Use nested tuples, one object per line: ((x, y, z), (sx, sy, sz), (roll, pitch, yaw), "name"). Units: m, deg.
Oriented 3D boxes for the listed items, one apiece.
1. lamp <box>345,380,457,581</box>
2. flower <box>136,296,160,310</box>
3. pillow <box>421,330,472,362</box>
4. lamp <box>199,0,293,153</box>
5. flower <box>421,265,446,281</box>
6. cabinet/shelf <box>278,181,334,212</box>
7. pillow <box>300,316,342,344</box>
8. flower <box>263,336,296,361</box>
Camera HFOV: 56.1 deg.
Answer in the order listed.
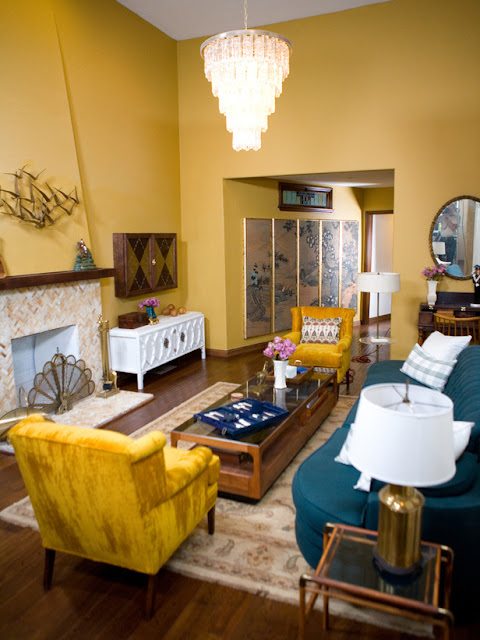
((0.467, 0.497, 1.315), (0.274, 0.638, 0.383), (2, 8, 25), "lamp")
((-1.223, -0.228, 6.003), (0.209, 0.162, 0.210), (0, 10, -1), "flower")
((1.643, 0.211, 3.601), (0.190, 0.192, 0.466), (-21, 1, -5), "pillow")
((0.044, -1.583, 3.086), (0.592, 0.705, 0.475), (-1, 7, 6), "lamp")
((2.407, -0.549, 5.631), (0.220, 0.240, 0.218), (3, -2, 4), "flower")
((1.244, -2.280, 8.427), (1.490, 0.524, 0.146), (-8, 10, -43), "cabinet/shelf")
((1.018, 0.131, 5.614), (0.312, 0.117, 0.234), (1, 54, 21), "pillow")
((0.353, 0.283, 3.953), (0.222, 0.274, 0.258), (-6, 16, -27), "flower")
